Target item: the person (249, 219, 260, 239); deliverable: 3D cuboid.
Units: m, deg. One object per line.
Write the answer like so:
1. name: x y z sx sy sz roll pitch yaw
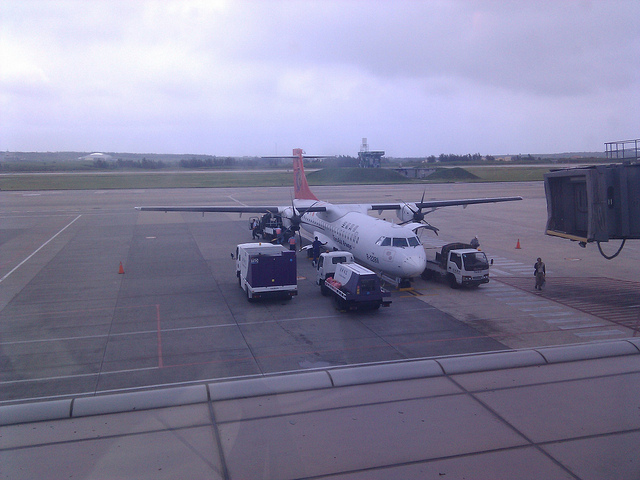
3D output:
1. person: -6.855 -1.138 54.932 0.606 1.686 1.148 -5 -4 23

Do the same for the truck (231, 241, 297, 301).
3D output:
1. truck: -3.565 1.813 32.663 2.931 2.988 5.548 -3 10 -16

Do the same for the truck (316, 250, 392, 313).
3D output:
1. truck: 1.648 2.347 30.471 2.152 2.294 4.876 -1 8 -16

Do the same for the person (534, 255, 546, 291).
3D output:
1. person: 13.484 2.092 32.863 0.548 1.993 0.844 3 10 19

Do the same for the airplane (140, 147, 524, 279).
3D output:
1. airplane: 3.627 -0.664 41.155 17.990 5.724 18.199 -3 12 -21

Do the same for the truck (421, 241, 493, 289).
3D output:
1. truck: 8.772 1.564 35.505 2.213 2.617 5.321 -3 7 -19

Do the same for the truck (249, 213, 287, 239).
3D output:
1. truck: -4.826 -1.234 51.923 1.878 1.416 3.559 1 11 -16
